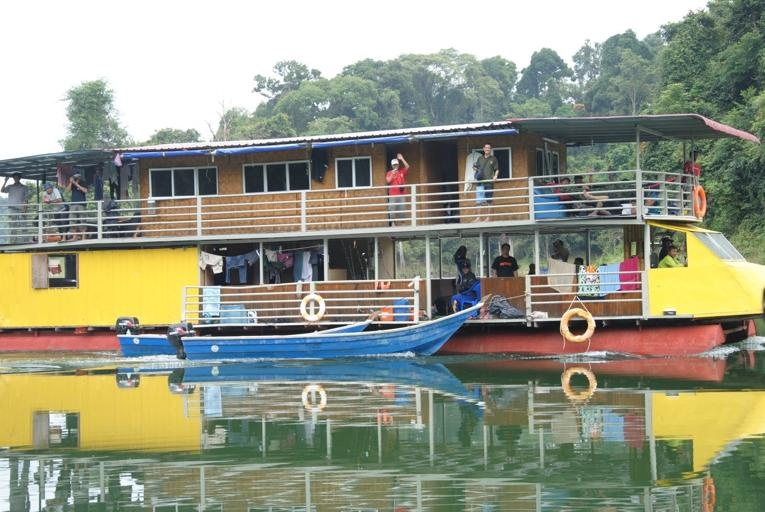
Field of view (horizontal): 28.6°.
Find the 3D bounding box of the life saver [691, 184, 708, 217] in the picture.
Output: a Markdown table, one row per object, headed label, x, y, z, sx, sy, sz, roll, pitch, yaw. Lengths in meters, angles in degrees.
| label | x | y | z | sx | sy | sz | roll | pitch | yaw |
| --- | --- | --- | --- | --- | --- | --- | --- | --- | --- |
| life saver | 10.413 | -1.759 | 49.519 | 0.303 | 0.873 | 1.220 | -1 | -1 | 18 |
